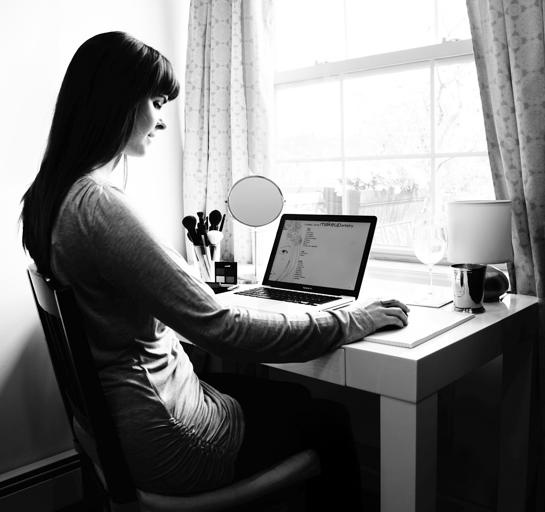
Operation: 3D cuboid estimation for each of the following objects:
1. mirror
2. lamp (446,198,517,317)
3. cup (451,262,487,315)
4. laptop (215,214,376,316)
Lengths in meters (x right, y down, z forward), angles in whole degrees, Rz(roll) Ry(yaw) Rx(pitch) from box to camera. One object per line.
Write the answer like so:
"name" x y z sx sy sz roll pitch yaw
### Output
"mirror" -0.069 -0.083 2.045 0.223 0.138 0.634 -2 -40 -1
"lamp" 0.566 -0.004 1.382 0.156 0.297 0.166 6 8 40
"cup" 0.526 0.084 1.350 0.087 0.141 0.109 0 3 32
"laptop" 0.062 -0.005 1.530 0.432 0.303 0.504 4 0 -25
